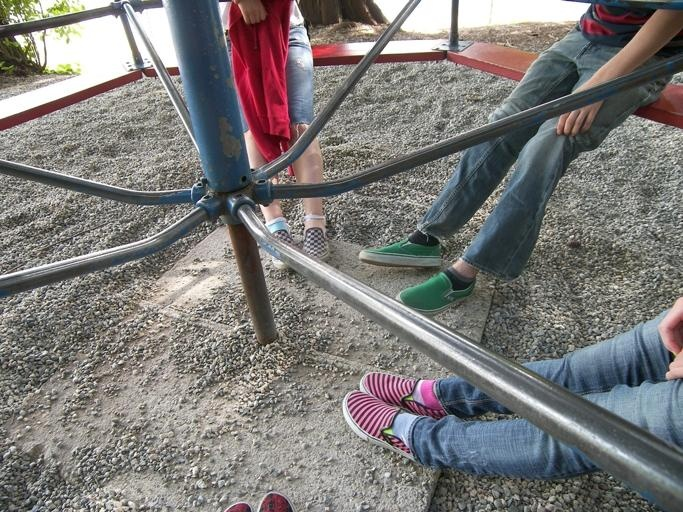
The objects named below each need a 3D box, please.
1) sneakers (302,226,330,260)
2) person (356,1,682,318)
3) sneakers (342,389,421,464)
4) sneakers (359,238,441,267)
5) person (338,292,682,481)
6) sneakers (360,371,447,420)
[{"bbox_3d":[-0.110,-0.055,2.235,0.095,0.068,0.180,-4,31,-1],"label":"sneakers"},{"bbox_3d":[0.681,-0.384,1.958,1.218,0.979,0.682,-32,43,-29],"label":"person"},{"bbox_3d":[0.110,0.545,1.624,0.283,0.094,0.108,28,54,19],"label":"sneakers"},{"bbox_3d":[0.257,-0.017,2.192,0.365,0.107,0.119,4,2,-2],"label":"sneakers"},{"bbox_3d":[0.426,0.355,1.439,0.886,0.537,0.391,8,41,21],"label":"person"},{"bbox_3d":[0.194,0.453,1.677,0.332,0.114,0.096,14,67,15],"label":"sneakers"}]
